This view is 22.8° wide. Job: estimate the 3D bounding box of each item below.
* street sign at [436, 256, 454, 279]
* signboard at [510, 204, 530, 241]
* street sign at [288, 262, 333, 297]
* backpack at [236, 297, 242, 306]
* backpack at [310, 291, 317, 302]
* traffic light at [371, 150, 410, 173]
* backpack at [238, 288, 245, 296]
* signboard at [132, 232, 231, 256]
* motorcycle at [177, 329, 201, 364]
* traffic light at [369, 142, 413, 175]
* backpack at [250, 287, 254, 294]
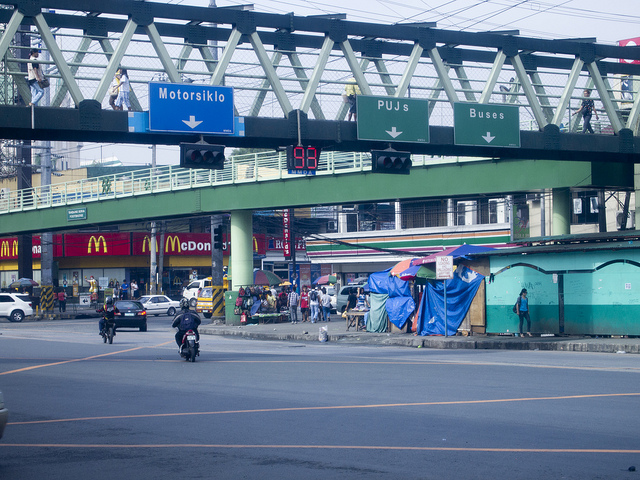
[{"bbox_3d":[4.713,1.000,59.857,0.587,0.867,1.103,0,-4,0],"label":"street sign"},{"bbox_3d":[9.386,-0.878,71.254,1.770,1.499,0.218,-1,-2,-24],"label":"signboard"},{"bbox_3d":[-0.620,2.803,111.646,2.755,2.545,2.016,-3,-1,37],"label":"street sign"},{"bbox_3d":[-3.679,2.748,72.329,0.334,0.566,0.312,0,-6,1],"label":"backpack"},{"bbox_3d":[-0.277,2.575,73.442,0.476,0.624,0.345,1,-1,-7],"label":"backpack"},{"bbox_3d":[2.391,-2.683,54.426,1.442,0.727,0.718,2,-5,-23],"label":"traffic light"},{"bbox_3d":[-3.568,2.339,72.640,0.330,0.422,0.246,3,-9,-24],"label":"backpack"},{"bbox_3d":[-9.404,0.153,100.777,4.953,1.710,5.139,0,-4,-6],"label":"signboard"},{"bbox_3d":[-4.388,3.537,53.582,0.609,1.109,0.908,0,-4,-12],"label":"motorcycle"},{"bbox_3d":[2.455,-2.808,54.472,1.351,0.980,0.681,-1,-4,2],"label":"traffic light"},{"bbox_3d":[-3.132,2.268,73.214,0.149,0.205,0.077,1,-4,-40],"label":"backpack"}]
